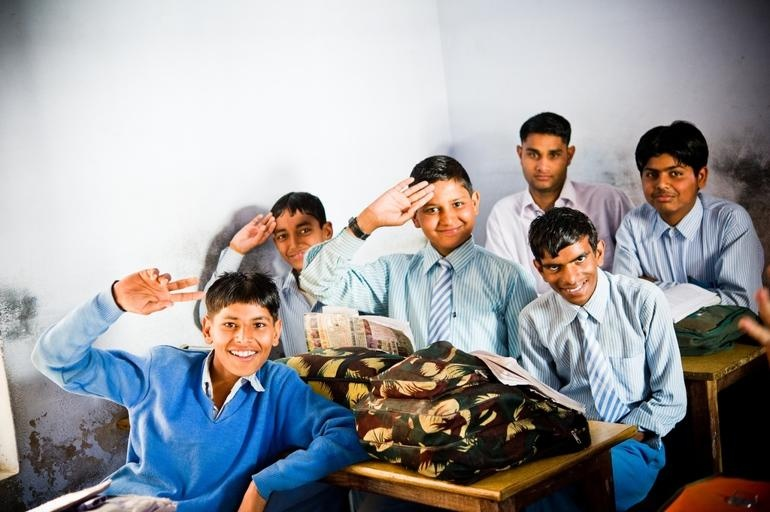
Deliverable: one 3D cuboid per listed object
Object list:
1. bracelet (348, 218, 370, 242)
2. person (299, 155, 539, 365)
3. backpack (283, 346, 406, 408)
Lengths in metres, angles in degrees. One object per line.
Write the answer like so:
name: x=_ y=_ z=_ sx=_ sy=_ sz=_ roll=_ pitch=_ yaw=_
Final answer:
bracelet: x=-0.118 y=-0.125 z=2.752 sx=0.046 sy=0.103 sz=0.099 roll=-34 pitch=-20 yaw=4
person: x=0.149 y=0.018 z=2.999 sx=1.108 sy=1.453 sz=0.527 roll=-12 pitch=0 yaw=11
backpack: x=-0.179 y=0.457 z=2.265 sx=0.289 sy=0.132 sz=0.295 roll=3 pitch=10 yaw=35
